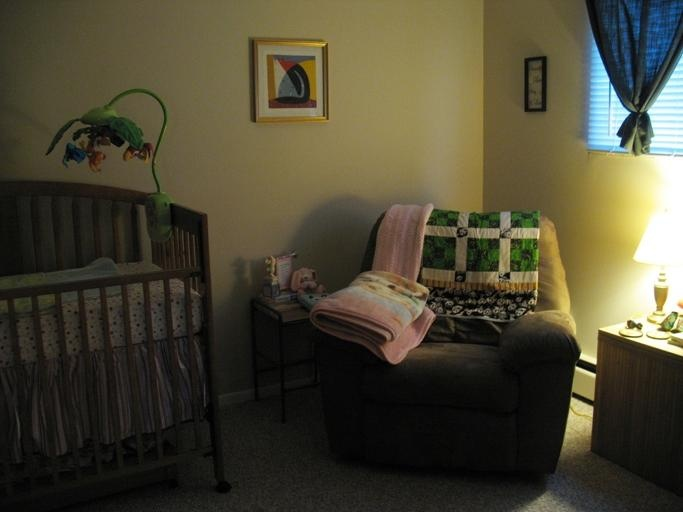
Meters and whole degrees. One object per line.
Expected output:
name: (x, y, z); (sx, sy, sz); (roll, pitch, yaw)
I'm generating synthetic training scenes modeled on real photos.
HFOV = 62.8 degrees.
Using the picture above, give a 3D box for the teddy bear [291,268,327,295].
teddy bear: (-0.235, 0.164, 3.646); (0.248, 0.244, 0.144); (2, -16, -36)

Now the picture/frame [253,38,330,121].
picture/frame: (-0.339, -1.144, 3.562); (0.493, 0.512, 0.051); (-3, 7, -25)

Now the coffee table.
coffee table: (-0.310, 0.631, 3.623); (0.481, 0.731, 0.533); (-2, 8, -25)

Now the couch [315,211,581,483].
couch: (0.612, 0.487, 3.049); (1.011, 1.056, 1.078); (0, 1, 9)

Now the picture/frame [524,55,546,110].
picture/frame: (1.297, -1.152, 3.754); (0.057, 0.358, 0.183); (-3, 8, -27)
